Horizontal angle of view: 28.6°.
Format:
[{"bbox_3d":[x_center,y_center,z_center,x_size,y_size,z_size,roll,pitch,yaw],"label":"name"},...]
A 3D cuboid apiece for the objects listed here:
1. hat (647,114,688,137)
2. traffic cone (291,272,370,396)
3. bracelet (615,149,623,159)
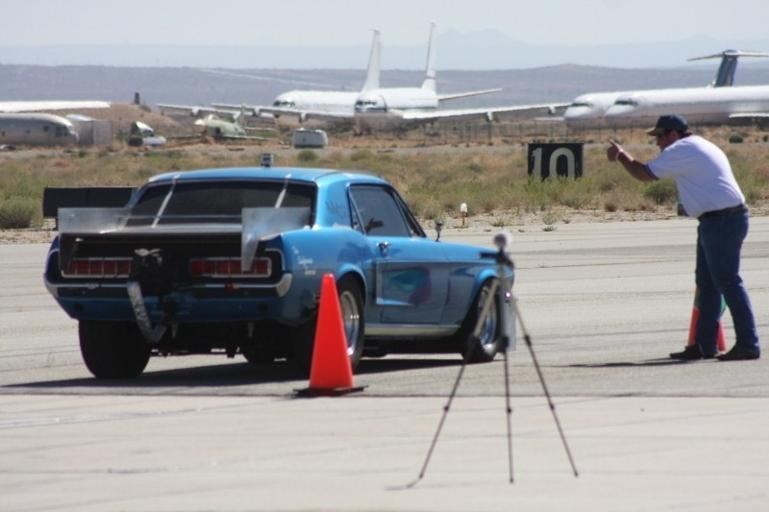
[{"bbox_3d":[3.298,-1.529,17.698,0.429,0.206,0.259,4,13,12],"label":"hat"},{"bbox_3d":[-0.594,0.815,15.881,0.718,1.232,0.431,-3,10,-13],"label":"traffic cone"},{"bbox_3d":[2.615,-1.152,16.956,0.073,0.091,0.027,10,-14,18],"label":"bracelet"}]
